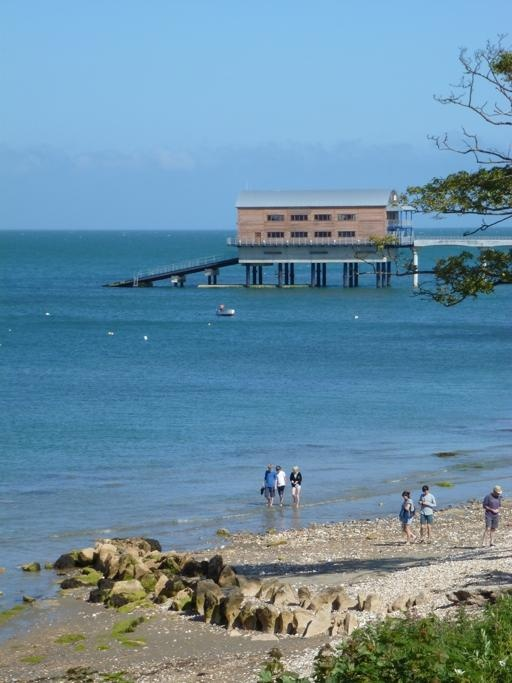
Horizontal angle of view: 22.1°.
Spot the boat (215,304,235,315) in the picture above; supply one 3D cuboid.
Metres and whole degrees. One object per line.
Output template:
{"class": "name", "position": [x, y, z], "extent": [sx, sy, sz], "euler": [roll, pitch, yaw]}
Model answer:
{"class": "boat", "position": [-2.283, -2.528, 104.083], "extent": [0.986, 0.702, 1.575], "euler": [0, 0, -2]}
